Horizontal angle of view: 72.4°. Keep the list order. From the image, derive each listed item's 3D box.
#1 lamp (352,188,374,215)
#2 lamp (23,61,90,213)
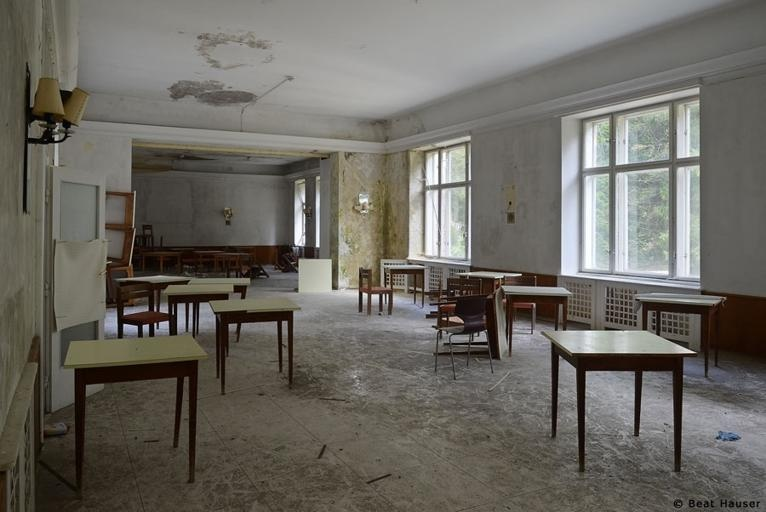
[{"bbox_3d":[-0.554,-1.486,14.062,0.702,0.670,0.185,-2,6,-32],"label":"lamp"},{"bbox_3d":[-2.769,-0.999,4.435,0.272,1.201,0.437,20,17,39],"label":"lamp"}]
